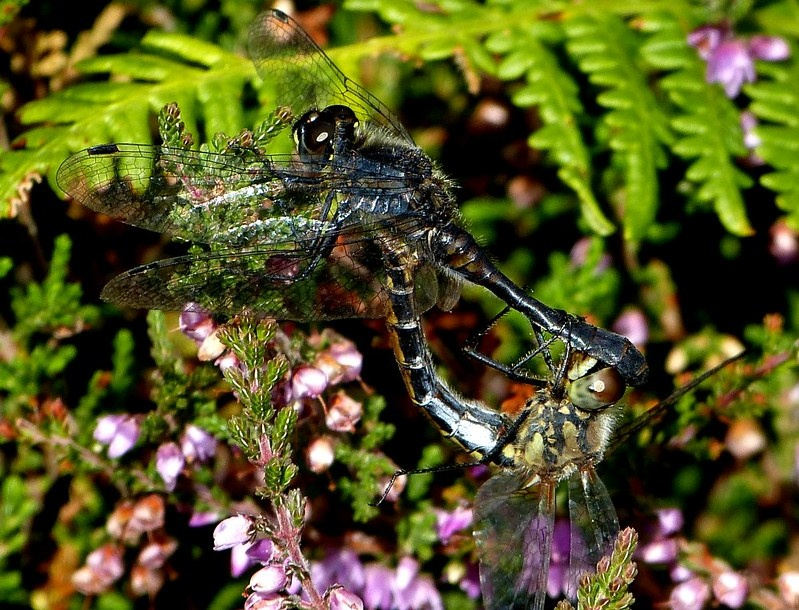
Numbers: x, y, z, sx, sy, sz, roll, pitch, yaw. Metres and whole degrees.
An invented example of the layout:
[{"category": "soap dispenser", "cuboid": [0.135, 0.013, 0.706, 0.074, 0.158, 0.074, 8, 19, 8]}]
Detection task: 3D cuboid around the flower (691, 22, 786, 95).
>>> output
[{"category": "flower", "cuboid": [1.453, -0.984, 4.519, 0.375, 0.547, 0.150, 7, 74, 13]}]
